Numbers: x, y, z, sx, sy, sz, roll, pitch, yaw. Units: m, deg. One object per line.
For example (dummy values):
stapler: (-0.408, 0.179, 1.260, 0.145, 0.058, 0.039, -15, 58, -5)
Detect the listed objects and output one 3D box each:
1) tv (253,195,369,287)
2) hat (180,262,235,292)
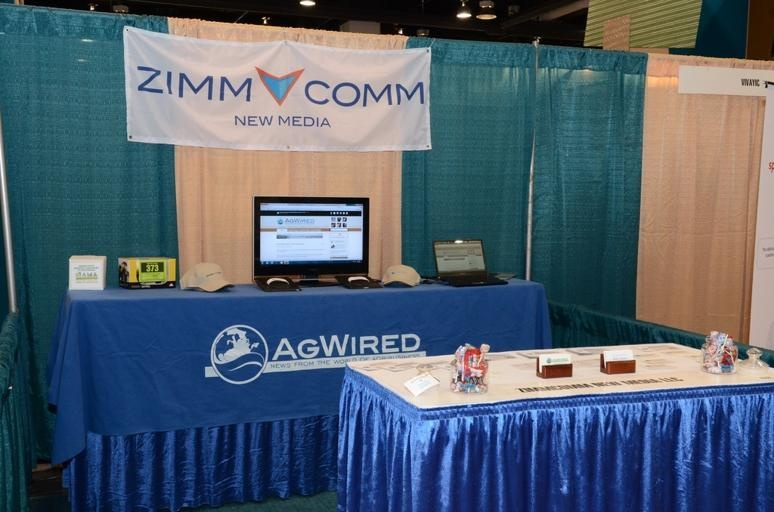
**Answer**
tv: (-0.518, -0.098, 4.757, 0.594, 0.415, 0.155, 0, 5, -14)
hat: (-1.118, 0.133, 4.510, 0.257, 0.117, 0.184, 0, 1, 32)
